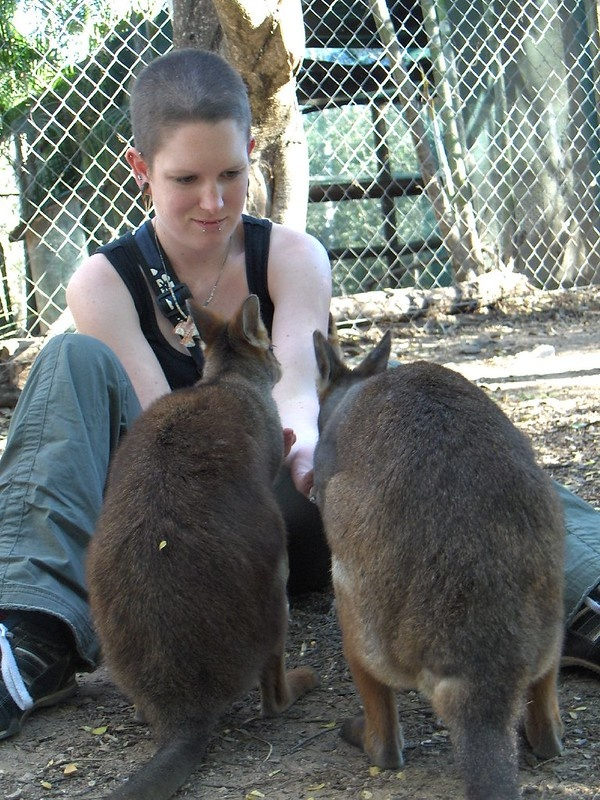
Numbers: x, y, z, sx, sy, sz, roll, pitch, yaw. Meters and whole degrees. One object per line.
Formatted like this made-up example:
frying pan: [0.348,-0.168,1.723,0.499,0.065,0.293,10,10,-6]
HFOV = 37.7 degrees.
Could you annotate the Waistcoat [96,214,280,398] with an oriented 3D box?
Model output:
Waistcoat: [-0.358,-0.287,2.772,0.531,0.537,0.319,-28,12,-9]

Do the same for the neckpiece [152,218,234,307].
neckpiece: [-0.331,-0.453,2.848,0.284,0.231,0.066,7,4,11]

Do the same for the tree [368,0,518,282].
tree: [1.266,-2.436,7.914,0.386,2.822,0.402,-18,9,8]

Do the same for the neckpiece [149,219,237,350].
neckpiece: [-0.406,-0.370,2.860,0.090,0.353,0.214,-38,-10,-2]
